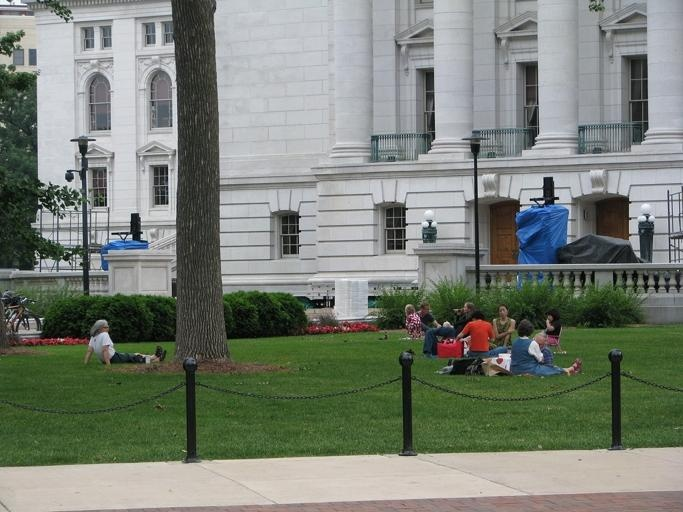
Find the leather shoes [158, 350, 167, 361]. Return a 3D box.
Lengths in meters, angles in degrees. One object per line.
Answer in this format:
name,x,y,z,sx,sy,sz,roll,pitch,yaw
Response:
leather shoes,-4.812,2.642,48.643,0.196,0.260,0.104,2,-3,-8

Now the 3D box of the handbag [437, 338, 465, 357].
handbag,2.946,2.504,49.471,0.812,0.549,0.437,-1,0,18

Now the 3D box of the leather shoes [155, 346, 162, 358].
leather shoes,-4.930,2.467,48.685,0.148,0.427,0.184,0,-41,2

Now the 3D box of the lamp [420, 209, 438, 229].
lamp,3.207,-1.450,69.689,0.673,0.628,0.670,1,2,24

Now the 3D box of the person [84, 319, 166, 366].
person,-5.790,2.332,48.940,2.107,1.156,0.908,4,-6,-38

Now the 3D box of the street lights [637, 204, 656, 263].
street lights,10.996,-0.588,66.459,0.646,2.606,0.687,1,7,4

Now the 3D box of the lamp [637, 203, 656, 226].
lamp,10.889,-1.581,66.129,0.723,0.687,0.728,-1,-1,42

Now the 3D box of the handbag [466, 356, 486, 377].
handbag,3.365,2.799,46.216,0.359,0.467,0.184,7,-3,7
